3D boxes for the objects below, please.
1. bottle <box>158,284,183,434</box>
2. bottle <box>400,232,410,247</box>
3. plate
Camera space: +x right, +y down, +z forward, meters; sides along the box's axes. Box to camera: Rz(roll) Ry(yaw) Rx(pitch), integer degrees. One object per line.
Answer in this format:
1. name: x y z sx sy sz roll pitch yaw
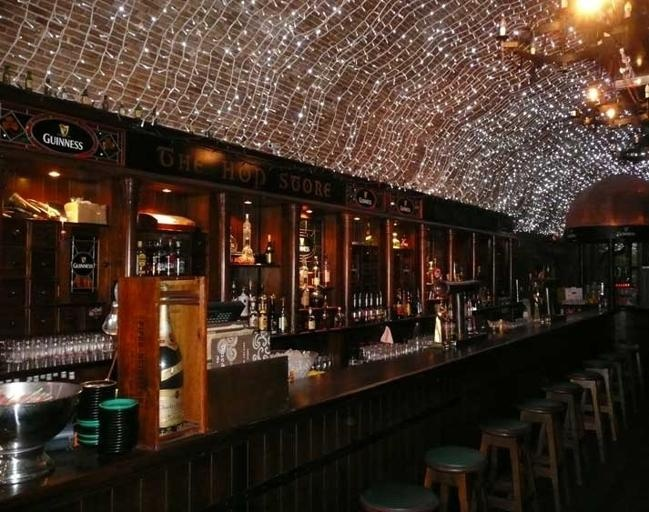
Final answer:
1. bottle: -0.736 0.528 2.659 0.073 0.600 0.194 -5 -6 25
2. bottle: 1.174 -0.261 8.122 0.139 0.310 0.151 2 -4 0
3. plate: -0.970 0.738 2.576 0.217 0.330 0.301 3 -11 -22
